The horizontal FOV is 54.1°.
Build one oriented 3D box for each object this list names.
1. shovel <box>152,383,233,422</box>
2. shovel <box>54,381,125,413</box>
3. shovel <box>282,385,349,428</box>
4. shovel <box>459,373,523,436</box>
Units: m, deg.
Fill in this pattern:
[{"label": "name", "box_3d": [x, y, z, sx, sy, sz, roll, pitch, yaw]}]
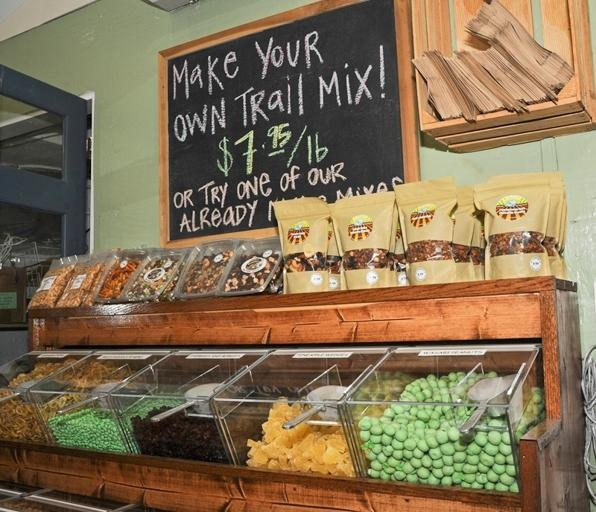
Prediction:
[{"label": "shovel", "box_3d": [-0.343, 0.448, 1.805, 0.214, 0.070, 0.122, -8, 3, 8]}, {"label": "shovel", "box_3d": [-0.684, 0.440, 1.900, 0.168, 0.047, 0.094, -24, 14, -20]}, {"label": "shovel", "box_3d": [0.060, 0.409, 1.590, 0.157, 0.103, 0.214, -5, 2, 12]}, {"label": "shovel", "box_3d": [0.475, 0.353, 1.439, 0.111, 0.061, 0.195, -10, 19, 37]}]
